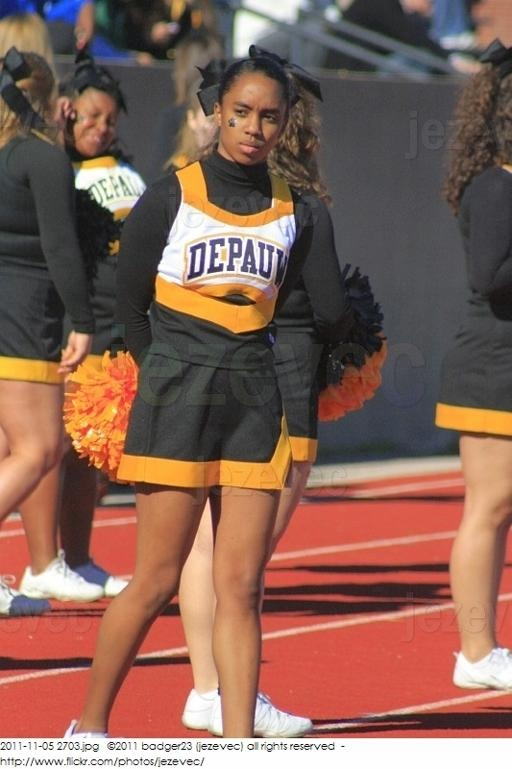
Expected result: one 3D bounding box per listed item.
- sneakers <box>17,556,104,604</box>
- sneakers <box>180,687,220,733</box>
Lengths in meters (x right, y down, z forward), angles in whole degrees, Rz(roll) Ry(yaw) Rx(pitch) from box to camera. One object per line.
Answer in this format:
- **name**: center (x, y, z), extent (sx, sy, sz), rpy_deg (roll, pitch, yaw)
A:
- **sneakers**: center (-0.814, 0.831, 4.093), extent (0.415, 0.166, 0.137), rpy_deg (3, 3, -6)
- **sneakers**: center (-0.158, 0.928, 2.743), extent (0.072, 0.082, 0.148), rpy_deg (7, 6, 23)
